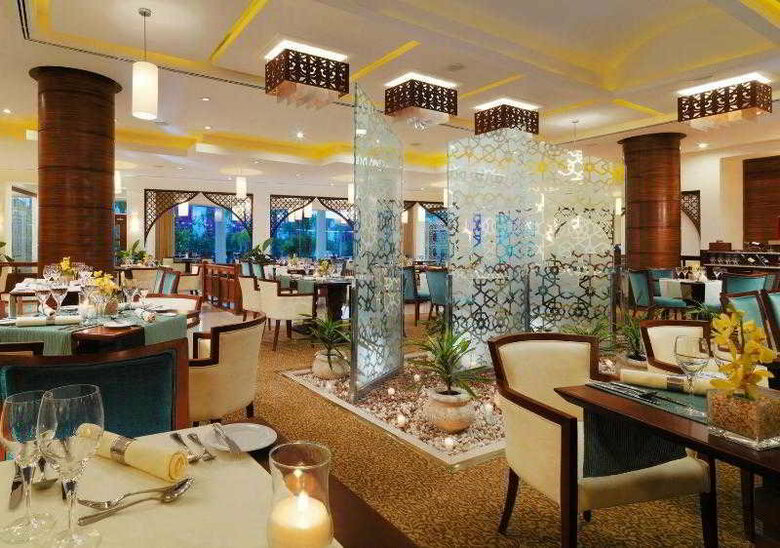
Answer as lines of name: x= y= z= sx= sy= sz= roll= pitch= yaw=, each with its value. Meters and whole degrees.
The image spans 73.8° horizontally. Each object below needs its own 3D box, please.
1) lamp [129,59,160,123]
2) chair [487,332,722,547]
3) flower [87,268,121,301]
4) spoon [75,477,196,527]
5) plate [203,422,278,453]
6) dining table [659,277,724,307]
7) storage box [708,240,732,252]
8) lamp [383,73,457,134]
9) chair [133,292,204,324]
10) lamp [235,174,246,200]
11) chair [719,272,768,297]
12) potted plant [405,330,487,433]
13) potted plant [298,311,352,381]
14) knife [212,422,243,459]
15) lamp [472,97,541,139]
lamp: x=-2.211 y=-1.666 z=4.695 sx=0.206 sy=0.501 sz=0.227 roll=-4 pitch=9 yaw=-24
chair: x=0.848 y=0.736 z=2.817 sx=0.999 sy=1.176 sz=1.109 roll=0 pitch=-3 yaw=-22
flower: x=-2.410 y=0.088 z=4.364 sx=0.289 sy=0.291 sz=0.282 roll=10 pitch=6 yaw=41
spoon: x=-0.787 y=0.705 z=1.651 sx=0.349 sy=0.060 sz=0.109 roll=-8 pitch=6 yaw=-29
plate: x=-0.552 y=0.608 z=1.918 sx=0.146 sy=0.015 sz=0.152 roll=6 pitch=6 yaw=36
dining table: x=4.122 y=0.224 z=7.239 sx=0.790 sy=0.477 sz=0.773 roll=-2 pitch=4 yaw=-42
storage box: x=6.193 y=-0.500 z=9.801 sx=0.298 sy=0.179 sz=0.288 roll=0 pitch=2 yaw=-28
lamp: x=0.305 y=-2.011 z=6.242 sx=0.652 sy=0.390 sz=0.630 roll=1 pitch=-1 yaw=-39
chair: x=-1.904 y=0.272 z=4.493 sx=0.363 sy=0.461 sz=0.338 roll=5 pitch=0 yaw=30
lamp: x=-3.091 y=-1.810 z=10.815 sx=0.178 sy=0.396 sz=0.332 roll=-4 pitch=9 yaw=-22
chair: x=3.817 y=0.118 z=5.635 sx=0.273 sy=0.331 sz=0.244 roll=4 pitch=11 yaw=20
potted plant: x=0.421 y=0.821 z=4.105 sx=0.739 sy=0.836 sz=0.742 roll=-1 pitch=6 yaw=-9
potted plant: x=-0.610 y=0.713 z=5.374 sx=0.596 sy=0.689 sz=0.679 roll=2 pitch=5 yaw=31
knife: x=-0.592 y=0.601 z=1.904 sx=0.050 sy=0.047 sz=0.403 roll=-4 pitch=-4 yaw=-23
lamp: x=1.606 y=-2.164 z=7.225 sx=0.849 sy=0.431 sz=0.535 roll=1 pitch=9 yaw=10
